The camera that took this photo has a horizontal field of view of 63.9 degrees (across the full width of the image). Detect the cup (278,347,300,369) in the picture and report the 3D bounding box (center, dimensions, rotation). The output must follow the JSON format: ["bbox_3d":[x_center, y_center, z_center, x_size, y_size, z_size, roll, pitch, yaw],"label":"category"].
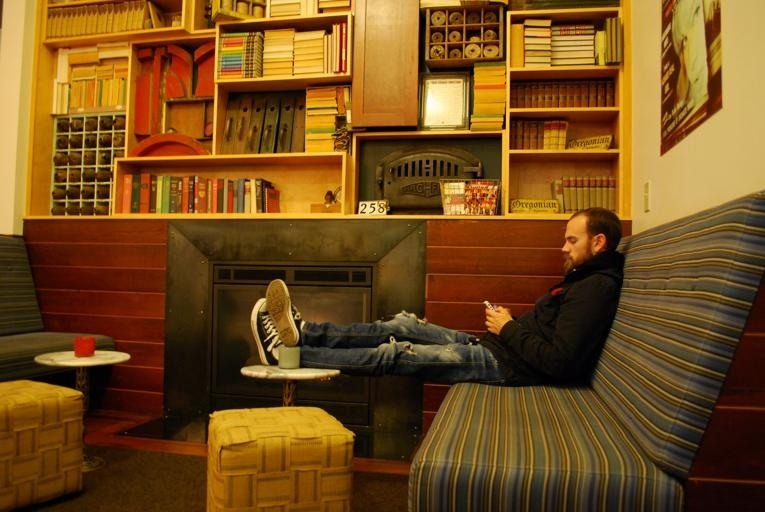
[{"bbox_3d":[-0.459,0.501,3.036,0.105,0.097,0.106,1,-3,0],"label":"cup"}]

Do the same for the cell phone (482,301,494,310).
[{"bbox_3d":[0.594,0.272,3.435,0.060,0.017,0.067,26,5,-3],"label":"cell phone"}]

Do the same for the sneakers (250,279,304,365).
[{"bbox_3d":[-0.542,0.395,3.196,0.219,0.536,0.186,-25,56,-28],"label":"sneakers"}]

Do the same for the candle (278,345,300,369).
[{"bbox_3d":[-0.468,0.494,3.029,0.106,0.085,0.105,1,-4,-8],"label":"candle"}]

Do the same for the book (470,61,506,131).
[{"bbox_3d":[0.689,-1.022,3.935,0.297,0.392,0.123,0,-2,10],"label":"book"}]

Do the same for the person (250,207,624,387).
[{"bbox_3d":[0.323,0.176,3.309,1.883,0.913,0.854,2,-2,9],"label":"person"}]

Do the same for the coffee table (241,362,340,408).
[{"bbox_3d":[-0.476,0.581,3.081,0.357,0.245,0.350,2,-1,-16],"label":"coffee table"}]

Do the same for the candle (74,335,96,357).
[{"bbox_3d":[-1.618,0.488,3.397,0.135,0.133,0.130,5,-22,-30],"label":"candle"}]
